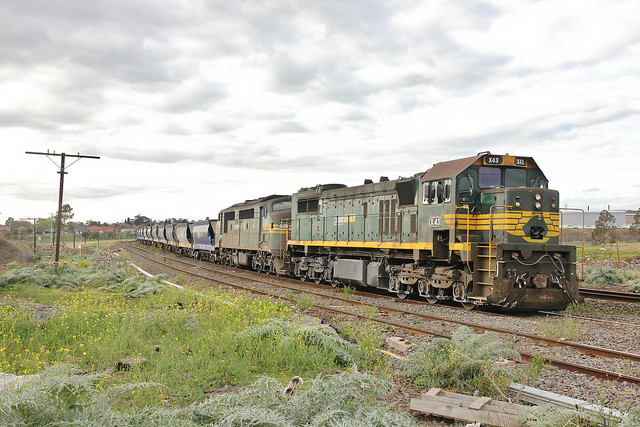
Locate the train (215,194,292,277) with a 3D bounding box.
[{"bbox_3d":[-4.596,1.444,30.609,3.299,5.089,12.886,-3,-2,-30],"label":"train"}]

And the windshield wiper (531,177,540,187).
[{"bbox_3d":[7.430,-1.086,14.404,0.054,0.455,0.056,49,-12,-26],"label":"windshield wiper"}]

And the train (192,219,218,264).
[{"bbox_3d":[-10.355,2.566,37.469,1.612,3.445,3.902,2,-2,-32],"label":"train"}]

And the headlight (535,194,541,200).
[{"bbox_3d":[7.191,-0.553,13.719,0.147,0.149,0.037,-4,0,-27],"label":"headlight"}]

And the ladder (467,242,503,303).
[{"bbox_3d":[5.430,1.930,13.649,1.123,1.936,0.507,-2,-3,34],"label":"ladder"}]
